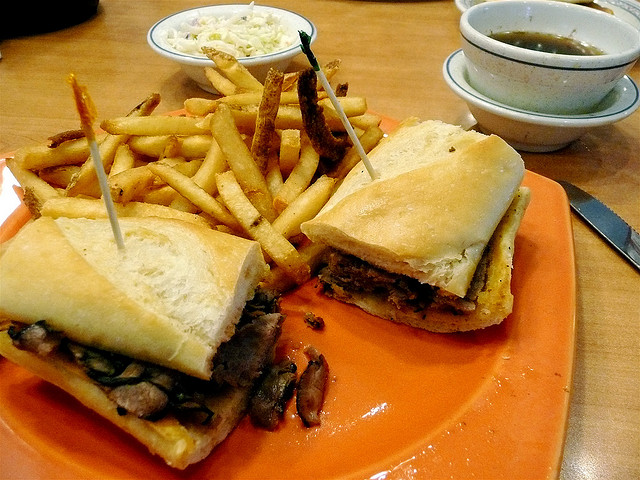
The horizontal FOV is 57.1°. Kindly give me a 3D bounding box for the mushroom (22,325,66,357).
[{"bbox_3d":[-1.331,0.499,2.828,0.143,0.148,0.123,17,56,14],"label":"mushroom"}]

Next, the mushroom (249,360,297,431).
[{"bbox_3d":[-0.238,0.795,3.027,0.188,0.085,0.308,3,50,17],"label":"mushroom"}]

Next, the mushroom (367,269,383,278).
[{"bbox_3d":[0.294,0.189,3.237,0.044,0.015,0.044,7,45,35],"label":"mushroom"}]

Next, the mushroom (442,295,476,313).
[{"bbox_3d":[0.736,0.337,3.105,0.163,0.042,0.099,-2,53,-1],"label":"mushroom"}]

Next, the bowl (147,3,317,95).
[{"bbox_3d":[-0.772,-1.612,5.011,1.212,0.408,1.207,-1,46,1],"label":"bowl"}]

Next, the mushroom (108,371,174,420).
[{"bbox_3d":[-0.816,0.709,2.733,0.219,0.064,0.213,-11,34,-35],"label":"mushroom"}]

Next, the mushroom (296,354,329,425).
[{"bbox_3d":[-0.044,0.772,3.042,0.133,0.085,0.371,7,54,6],"label":"mushroom"}]
